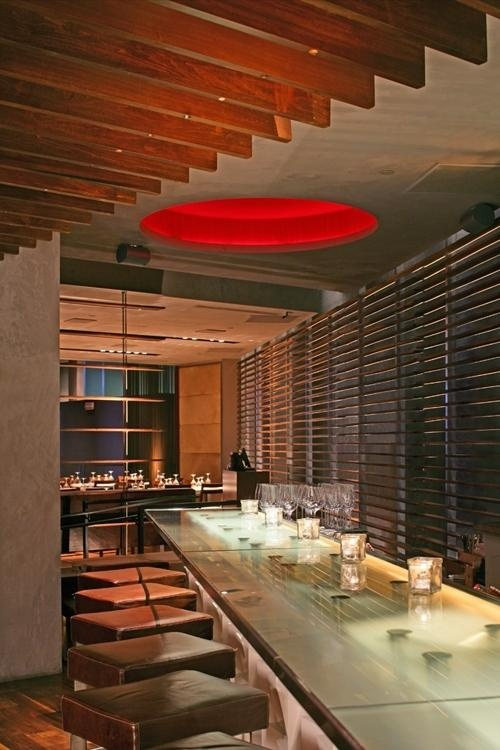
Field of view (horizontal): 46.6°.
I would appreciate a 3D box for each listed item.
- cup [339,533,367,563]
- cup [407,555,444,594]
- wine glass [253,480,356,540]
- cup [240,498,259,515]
[{"bbox_3d":[0.327,0.552,1.908,0.090,0.118,0.091,0,-4,0],"label":"cup"},{"bbox_3d":[0.423,0.488,1.454,0.086,0.088,0.085,0,-6,0],"label":"cup"},{"bbox_3d":[0.214,0.712,3.069,0.281,0.331,0.909,4,-8,-28],"label":"wine glass"},{"bbox_3d":[0.002,0.798,3.534,0.095,0.070,0.094,0,-6,0],"label":"cup"}]
